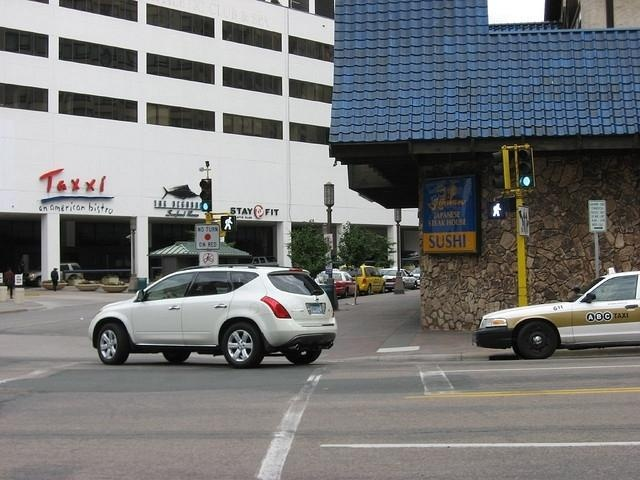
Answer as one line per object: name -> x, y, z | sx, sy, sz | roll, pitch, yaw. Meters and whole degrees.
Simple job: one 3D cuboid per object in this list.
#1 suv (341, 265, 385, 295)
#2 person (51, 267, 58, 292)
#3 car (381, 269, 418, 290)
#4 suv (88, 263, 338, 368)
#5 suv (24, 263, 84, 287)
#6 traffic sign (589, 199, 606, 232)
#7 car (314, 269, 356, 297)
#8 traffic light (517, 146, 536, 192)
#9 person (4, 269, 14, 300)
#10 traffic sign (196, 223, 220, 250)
suv -> 2.542, 2.237, 52.102 | 1.064, 0.979, 2.396 | -1, 3, 23
person -> -16.797, 2.536, 58.704 | 0.381, 1.326, 1.536 | -1, 2, -17
car -> 4.856, 2.477, 58.305 | 1.112, 0.939, 2.728 | -1, 1, 15
suv -> -2.136, 1.640, 20.592 | 4.451, 1.779, 2.330 | 0, -4, 26
suv -> -18.686, 2.502, 65.456 | 3.889, 1.558, 3.758 | -1, 2, -25
traffic sign -> 7.114, -0.589, 23.762 | 0.402, 0.794, 0.261 | 0, 2, 1
car -> 1.050, 2.188, 47.629 | 1.055, 0.873, 2.530 | 0, 3, 13
traffic light -> 4.941, -1.731, 22.275 | 0.363, 1.022, 0.286 | 0, 2, 4
person -> -16.012, 2.264, 47.966 | 0.393, 1.524, 3.798 | -1, 1, -19
traffic sign -> -3.250, -0.072, 26.803 | 0.679, 0.755, 0.557 | 0, 2, -10
